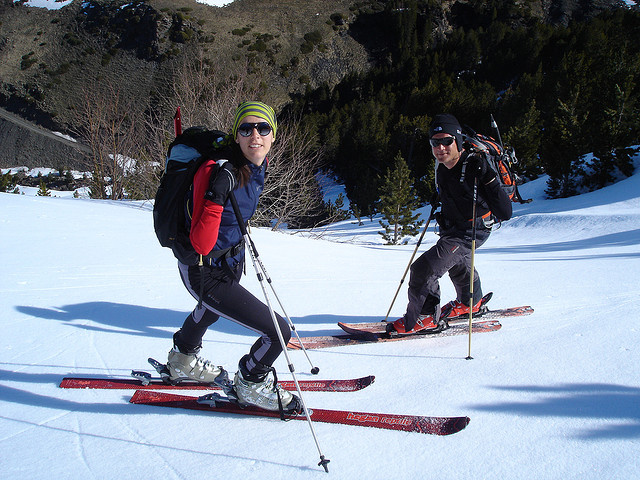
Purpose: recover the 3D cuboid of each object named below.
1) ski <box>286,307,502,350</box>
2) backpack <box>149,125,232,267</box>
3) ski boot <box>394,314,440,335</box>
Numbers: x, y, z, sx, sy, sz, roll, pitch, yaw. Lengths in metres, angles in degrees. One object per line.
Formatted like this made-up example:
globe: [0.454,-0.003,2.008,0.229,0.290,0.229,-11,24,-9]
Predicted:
ski: [1.053,1.230,7.157,2.005,0.166,0.276,-8,13,5]
backpack: [-1.360,-0.460,5.427,0.735,1.162,0.424,4,1,-8]
ski boot: [1.281,1.143,7.062,0.555,0.254,0.263,0,4,-10]
